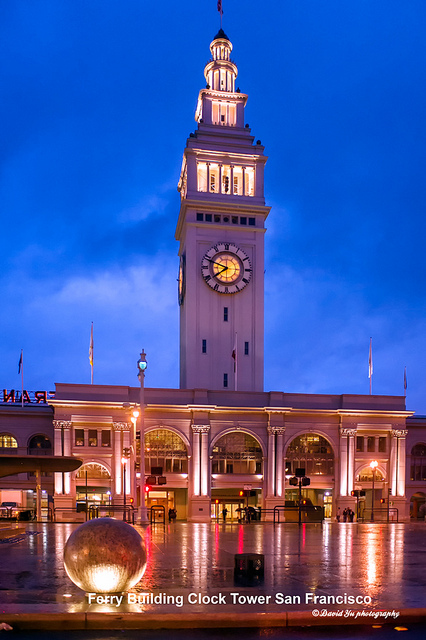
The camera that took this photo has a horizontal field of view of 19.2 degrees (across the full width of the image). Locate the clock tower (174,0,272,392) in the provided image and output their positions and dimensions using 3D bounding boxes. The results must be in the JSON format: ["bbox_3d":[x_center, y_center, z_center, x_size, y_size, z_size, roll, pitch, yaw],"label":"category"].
[{"bbox_3d":[0.638,-6.540,90.192,6.071,23.868,10.140,-1,-7,2],"label":"clock tower"}]

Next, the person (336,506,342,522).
[{"bbox_3d":[7.859,11.899,78.236,0.322,0.878,1.063,-1,-8,5],"label":"person"}]
